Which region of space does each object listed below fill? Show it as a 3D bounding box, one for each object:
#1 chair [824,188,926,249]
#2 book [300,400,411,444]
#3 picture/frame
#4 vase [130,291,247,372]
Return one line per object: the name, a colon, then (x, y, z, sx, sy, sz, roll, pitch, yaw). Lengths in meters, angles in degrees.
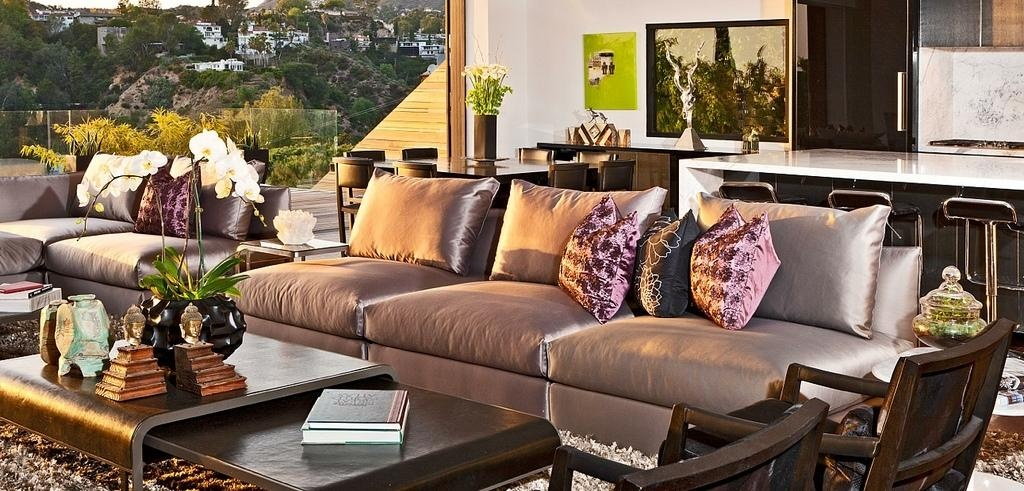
chair: (3.135, -0.255, 6.014, 0.503, 0.613, 0.477, -20, 22, -38)
book: (-0.959, 1.108, 4.257, 0.611, 0.175, 0.184, -2, 8, -4)
picture/frame: (3.182, -2.551, 10.500, 2.444, 1.753, 0.087, 4, 9, 32)
vase: (-2.178, 0.561, 4.771, 0.598, 0.329, 0.554, 0, -1, -9)
